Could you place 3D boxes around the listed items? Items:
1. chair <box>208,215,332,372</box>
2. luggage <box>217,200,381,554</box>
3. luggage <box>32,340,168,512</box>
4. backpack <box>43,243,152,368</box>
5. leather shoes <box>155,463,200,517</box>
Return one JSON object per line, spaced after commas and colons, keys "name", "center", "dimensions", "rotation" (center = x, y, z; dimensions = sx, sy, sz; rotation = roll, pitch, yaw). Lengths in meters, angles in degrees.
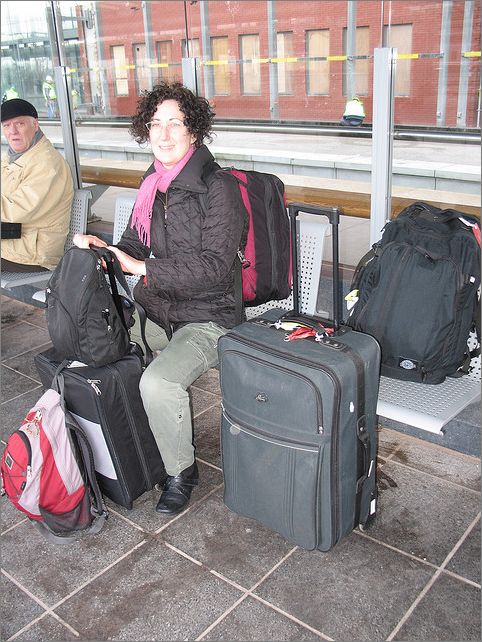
{"name": "chair", "center": [0.114, -0.279, 2.031], "dimensions": [0.469, 0.562, 0.323], "rotation": [-3, -2, -10]}
{"name": "luggage", "center": [0.162, 0.184, 1.436], "dimensions": [0.466, 1.026, 0.355], "rotation": [7, 16, 44]}
{"name": "luggage", "center": [-0.524, 0.389, 1.811], "dimensions": [0.402, 0.563, 0.325], "rotation": [5, 26, 32]}
{"name": "backpack", "center": [-0.515, -0.052, 1.722], "dimensions": [0.269, 0.411, 0.312], "rotation": [-11, 17, -42]}
{"name": "leather shoes", "center": [-0.216, 0.598, 1.769], "dimensions": [0.099, 0.106, 0.273], "rotation": [3, 19, 19]}
